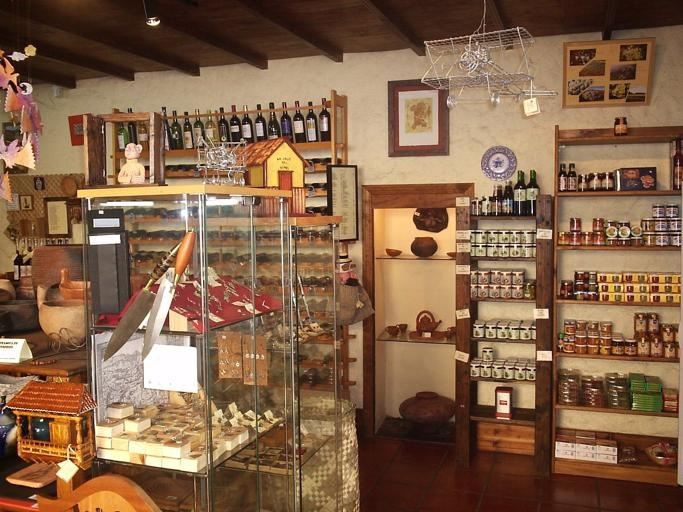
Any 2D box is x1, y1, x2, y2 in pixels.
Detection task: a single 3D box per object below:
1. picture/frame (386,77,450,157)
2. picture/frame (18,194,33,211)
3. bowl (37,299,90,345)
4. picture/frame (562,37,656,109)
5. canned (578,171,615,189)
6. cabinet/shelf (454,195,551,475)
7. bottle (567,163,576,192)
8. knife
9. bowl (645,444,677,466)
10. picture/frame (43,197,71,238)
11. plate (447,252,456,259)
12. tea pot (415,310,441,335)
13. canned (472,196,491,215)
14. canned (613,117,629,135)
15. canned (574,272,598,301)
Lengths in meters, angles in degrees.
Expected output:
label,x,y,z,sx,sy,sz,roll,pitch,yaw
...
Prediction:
label,x,y,z,sx,sy,sz,roll,pitch,yaw
picture/frame,0.709,-1.267,5.021,0.572,0.708,0.145,-1,11,9
picture/frame,-3.716,-0.629,6.399,0.248,0.186,0.023,2,5,6
bowl,-1.145,0.271,2.323,0.251,0.144,0.217,0,0,0
picture/frame,2.205,-1.506,4.506,0.674,0.527,0.083,1,12,16
canned,2.089,-0.605,4.458,0.267,0.150,0.130,1,10,17
cabinet/shelf,1.427,0.643,4.659,0.878,2.140,0.418,2,5,16
bottle,1.926,-0.653,4.526,0.076,0.224,0.172,2,11,21
knife,-0.651,0.154,1.952,0.201,0.652,0.077,35,5,4
bowl,2.608,1.583,4.425,0.211,0.114,0.304,3,10,28
picture/frame,-3.298,-0.440,6.286,0.354,0.461,0.076,2,12,25
plate,1.090,-0.005,5.373,0.074,0.036,0.064,1,-2,0
tea pot,0.851,0.679,5.433,0.336,0.245,0.166,0,-7,9
canned,1.226,-0.432,4.758,0.199,0.151,0.138,3,2,23
canned,2.246,-1.035,4.362,0.102,0.151,0.130,2,11,25
canned,2.018,0.245,4.476,0.178,0.213,0.166,1,11,18
